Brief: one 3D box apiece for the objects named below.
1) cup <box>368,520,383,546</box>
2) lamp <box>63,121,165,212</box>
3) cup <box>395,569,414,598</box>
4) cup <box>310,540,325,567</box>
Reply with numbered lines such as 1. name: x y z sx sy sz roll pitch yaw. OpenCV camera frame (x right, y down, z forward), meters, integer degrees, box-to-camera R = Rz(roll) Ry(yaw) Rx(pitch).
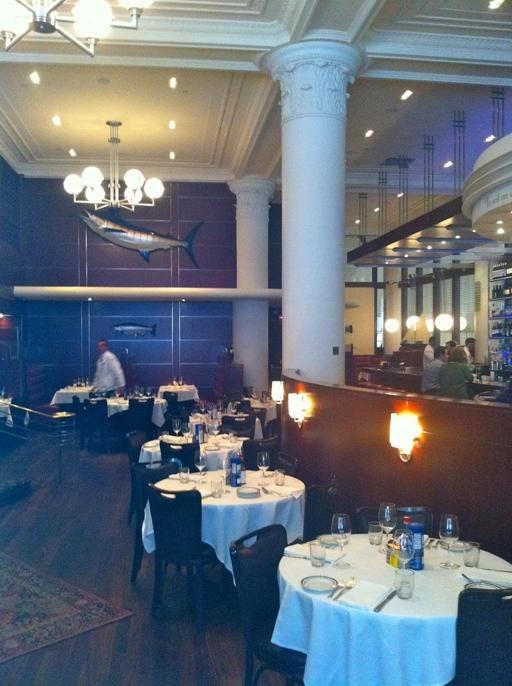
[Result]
1. cup: 0.638 1.007 3.049 0.100 0.117 0.108 0 -7 0
2. lamp: -2.208 -2.697 8.825 1.495 1.277 1.547 2 6 3
3. cup: 0.623 1.000 2.397 0.092 0.104 0.094 -1 -9 0
4. cup: 0.302 1.009 2.770 0.076 0.101 0.121 0 0 6
